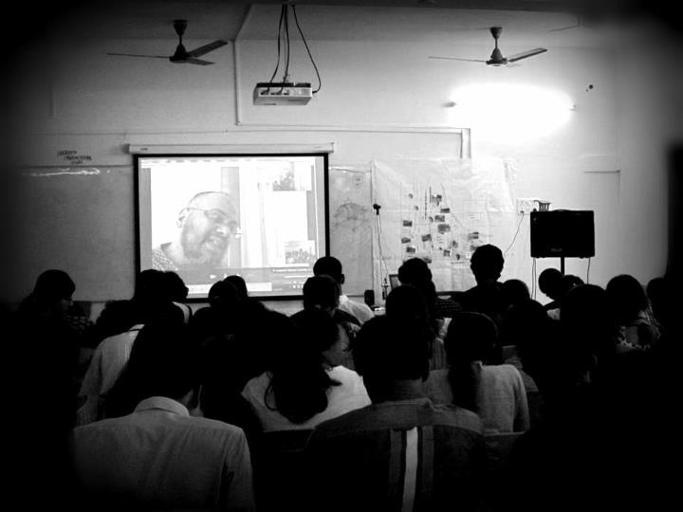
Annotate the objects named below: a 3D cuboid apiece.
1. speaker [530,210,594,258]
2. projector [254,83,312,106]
[{"bbox_3d":[1.971,-0.178,5.746,0.708,0.603,0.385,-1,-3,15],"label":"speaker"},{"bbox_3d":[-0.465,-1.275,4.921,0.435,0.121,0.169,2,2,-7],"label":"projector"}]
